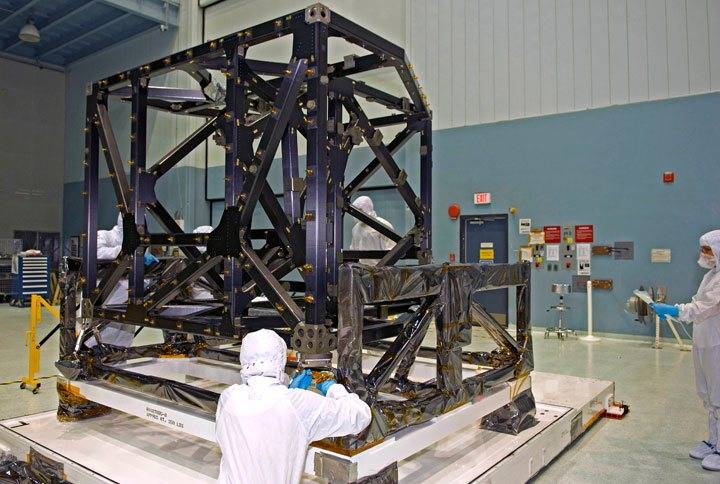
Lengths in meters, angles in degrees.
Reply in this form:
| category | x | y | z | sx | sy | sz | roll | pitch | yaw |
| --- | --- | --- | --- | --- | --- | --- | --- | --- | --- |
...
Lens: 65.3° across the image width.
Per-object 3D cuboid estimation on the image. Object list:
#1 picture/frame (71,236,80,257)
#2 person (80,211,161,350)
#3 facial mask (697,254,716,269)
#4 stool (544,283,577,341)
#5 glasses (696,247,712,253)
| category | x | y | z | sx | sy | sz | roll | pitch | yaw |
| --- | --- | --- | --- | --- | --- | --- | --- | --- | --- |
| picture/frame | -3.629 | 0.068 | 7.170 | 0.100 | 0.274 | 0.627 | -1 | 0 | -29 |
| person | -3.193 | 0.604 | 7.497 | 0.831 | 1.794 | 1.381 | -1 | 0 | -27 |
| facial mask | 4.014 | 0.247 | 6.402 | 0.217 | 0.131 | 0.214 | 5 | -3 | -6 |
| stool | 4.227 | 1.488 | 11.921 | 0.575 | 1.124 | 0.626 | -1 | 0 | 24 |
| glasses | 4.544 | 0.117 | 7.422 | 0.114 | 0.094 | 0.121 | 0 | 0 | 9 |
